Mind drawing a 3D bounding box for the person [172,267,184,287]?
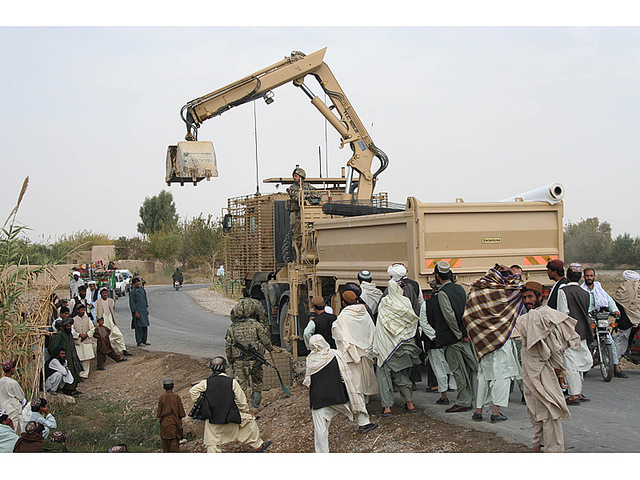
[{"bbox_3d":[-11.112,2.746,38.774,0.982,1.183,1.964,0,6,-1],"label":"person"}]

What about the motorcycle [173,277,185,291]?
[{"bbox_3d":[-10.948,3.235,38.531,0.689,0.904,1.572,-1,3,1],"label":"motorcycle"}]

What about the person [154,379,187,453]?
[{"bbox_3d":[-2.808,3.231,9.530,0.492,1.644,2.048,2,-4,-14],"label":"person"}]

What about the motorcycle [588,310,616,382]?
[{"bbox_3d":[5.400,2.017,9.708,0.441,1.365,0.760,-1,-4,31],"label":"motorcycle"}]

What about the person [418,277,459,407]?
[{"bbox_3d":[1.944,1.701,8.384,0.646,2.066,0.706,0,-4,15],"label":"person"}]

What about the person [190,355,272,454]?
[{"bbox_3d":[-1.548,2.735,8.317,1.151,1.646,0.492,2,-4,-15],"label":"person"}]

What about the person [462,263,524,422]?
[{"bbox_3d":[2.604,1.544,7.662,0.832,2.324,0.390,0,-4,22],"label":"person"}]
